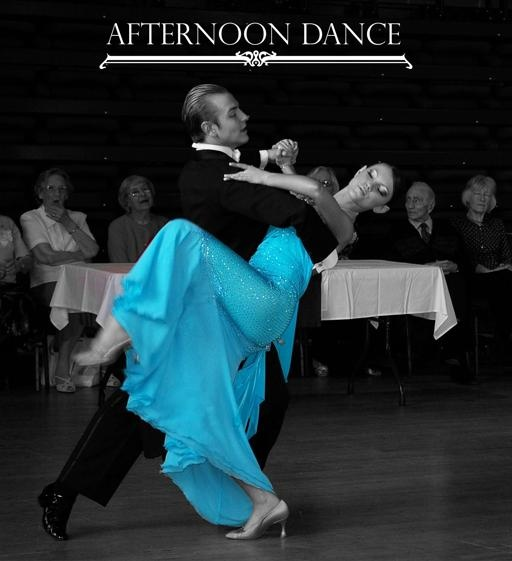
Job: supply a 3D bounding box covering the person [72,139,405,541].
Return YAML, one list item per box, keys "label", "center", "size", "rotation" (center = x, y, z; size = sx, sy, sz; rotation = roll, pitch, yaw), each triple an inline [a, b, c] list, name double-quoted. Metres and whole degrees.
- label: "person"
  center: [-0.037, 0.200, 1.705]
  size: [0.703, 0.839, 0.482]
  rotation: [-5, 1, 2]
